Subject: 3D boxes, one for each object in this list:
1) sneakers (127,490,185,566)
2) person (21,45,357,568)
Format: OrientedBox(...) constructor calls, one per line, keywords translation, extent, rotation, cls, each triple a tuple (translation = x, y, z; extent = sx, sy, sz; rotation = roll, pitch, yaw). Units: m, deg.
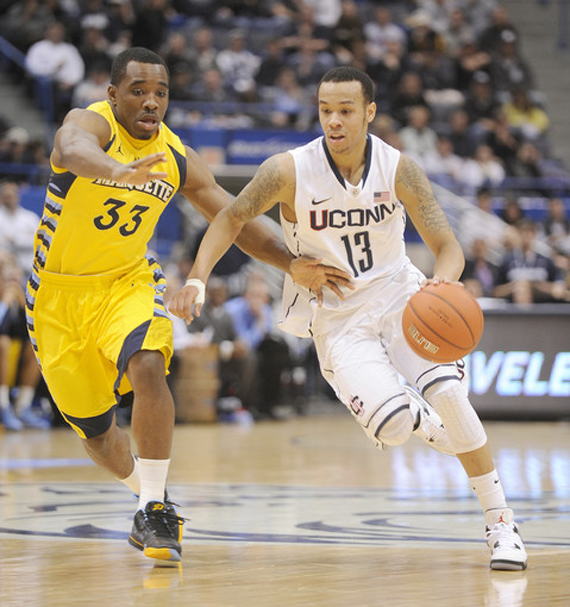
OrientedBox(translation=(-0.491, 0.855, 3.235), extent=(0.138, 0.112, 0.287), rotation=(20, -9, -18), cls="sneakers")
OrientedBox(translation=(-0.658, -0.027, 3.571), extent=(1.003, 1.995, 1.259), rotation=(10, 22, 13), cls="person")
